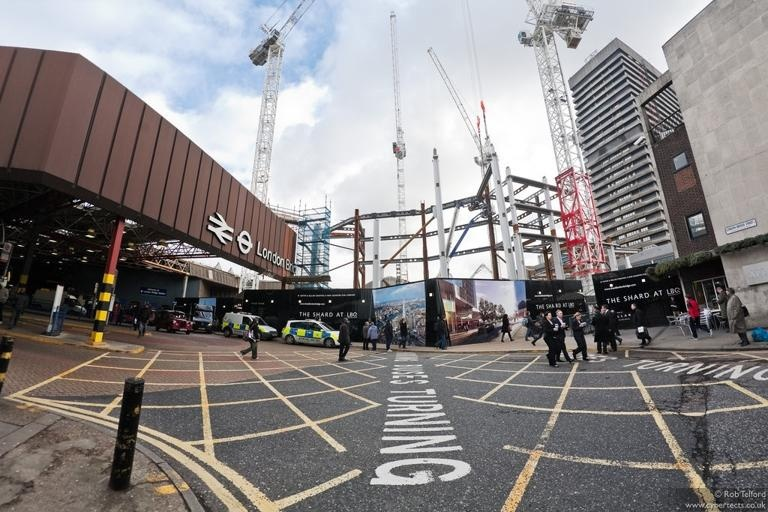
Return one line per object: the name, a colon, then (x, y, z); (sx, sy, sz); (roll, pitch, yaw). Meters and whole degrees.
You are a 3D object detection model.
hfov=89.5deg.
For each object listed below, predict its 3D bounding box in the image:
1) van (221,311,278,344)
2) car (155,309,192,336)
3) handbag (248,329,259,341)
van: (-9.760, 4.708, 26.227); (4.795, 2.242, 2.733); (-5, -13, 14)
car: (-13.882, 4.224, 25.483); (2.460, 1.112, 1.366); (-8, -11, 37)
handbag: (-5.654, 3.390, 16.535); (0.343, 0.407, 1.024); (-4, 8, -23)
